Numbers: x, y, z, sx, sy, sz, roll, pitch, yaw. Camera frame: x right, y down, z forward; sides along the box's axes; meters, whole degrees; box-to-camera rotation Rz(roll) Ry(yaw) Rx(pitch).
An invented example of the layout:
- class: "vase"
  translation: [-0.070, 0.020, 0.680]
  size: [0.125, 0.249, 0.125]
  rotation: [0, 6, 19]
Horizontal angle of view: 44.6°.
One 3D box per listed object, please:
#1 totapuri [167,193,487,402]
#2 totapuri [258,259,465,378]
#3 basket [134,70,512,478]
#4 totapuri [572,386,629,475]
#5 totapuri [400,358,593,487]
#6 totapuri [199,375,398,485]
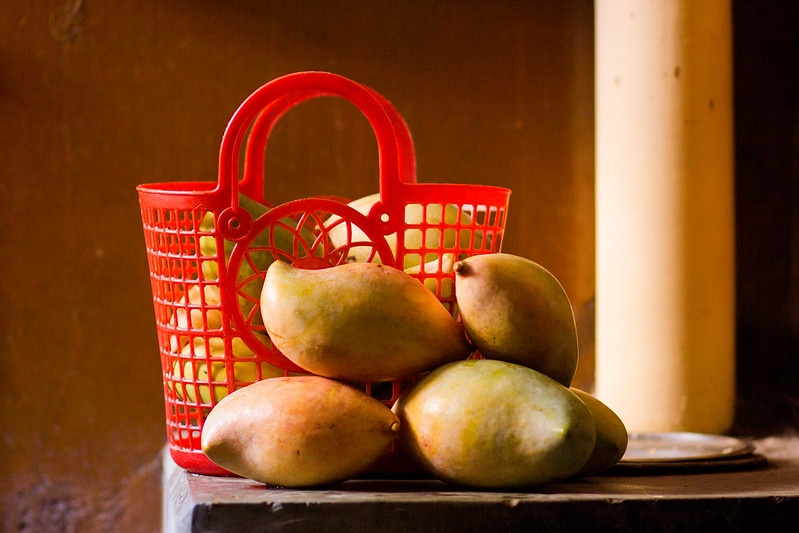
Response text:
- class: "totapuri"
  translation: [-0.116, 0.066, 1.322]
  size: [0.308, 0.321, 0.284]
  rotation: [1, -8, 0]
- class: "totapuri"
  translation: [-0.054, 0.053, 1.208]
  size: [0.210, 0.140, 0.115]
  rotation: [9, 24, 9]
- class: "basket"
  translation: [-0.068, 0.009, 1.413]
  size: [0.511, 0.612, 0.391]
  rotation: [2, -1, -6]
- class: "totapuri"
  translation: [0.252, 0.208, 1.237]
  size: [0.083, 0.063, 0.092]
  rotation: [3, -21, 17]
- class: "totapuri"
  translation: [0.108, 0.156, 1.118]
  size: [0.178, 0.127, 0.127]
  rotation: [7, 9, 12]
- class: "totapuri"
  translation: [-0.123, 0.199, 1.178]
  size: [0.219, 0.150, 0.126]
  rotation: [-2, 10, -9]
